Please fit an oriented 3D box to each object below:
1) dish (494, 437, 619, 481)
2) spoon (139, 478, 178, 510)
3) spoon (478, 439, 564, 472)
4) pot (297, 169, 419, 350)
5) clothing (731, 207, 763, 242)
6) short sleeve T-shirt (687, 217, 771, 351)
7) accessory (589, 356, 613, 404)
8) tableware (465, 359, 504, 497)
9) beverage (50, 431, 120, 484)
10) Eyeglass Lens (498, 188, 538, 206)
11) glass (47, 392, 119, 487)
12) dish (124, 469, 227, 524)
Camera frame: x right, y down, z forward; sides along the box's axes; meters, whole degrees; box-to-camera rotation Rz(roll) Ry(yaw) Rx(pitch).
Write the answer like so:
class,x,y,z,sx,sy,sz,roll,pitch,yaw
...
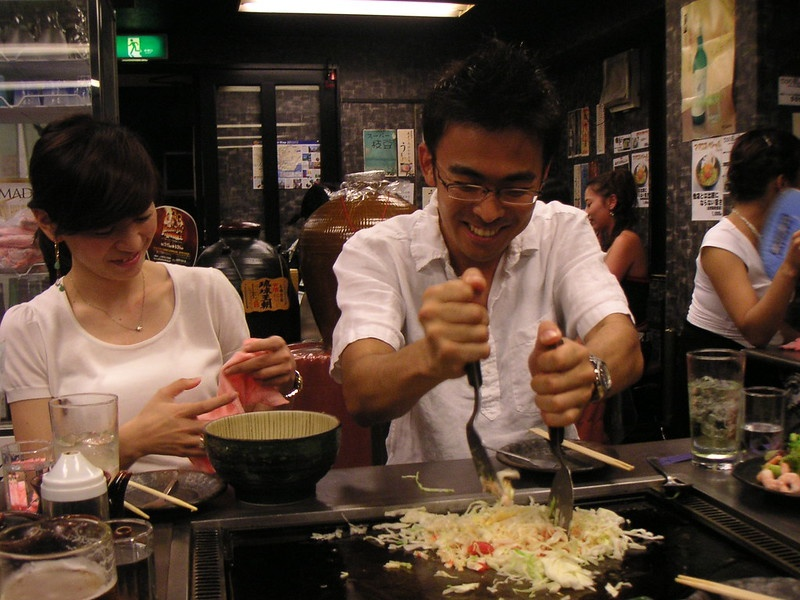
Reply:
class,x,y,z,sx,sy,sz,roll,pitch,yaw
dish,0.422,0.491,1.998,0.279,0.029,0.278,14,-28,-7
spoon,-0.686,0.561,1.837,0.057,0.060,0.037,4,9,-31
spoon,0.388,0.489,1.974,0.173,0.029,0.177,-11,12,-44
pot,-0.327,-0.264,4.103,0.886,1.326,0.975,0,3,-2
clothing,2.117,-0.449,3.851,0.173,0.045,0.139,50,18,28
short sleeve T-shirt,2.020,-0.069,3.830,0.369,0.639,0.646,16,29,24
accessory,0.599,0.246,1.883,0.063,0.149,0.176,4,14,17
tableware,0.276,0.419,2.076,0.066,0.436,0.065,-13,3,45
beverage,-0.804,0.392,1.663,0.144,0.153,0.156,0,-2,-7
Eyeglass Lens,0.394,-0.331,2.050,0.171,0.060,0.051,-13,19,-43
glass,-0.846,0.387,1.718,0.161,0.247,0.161,-3,-2,12
dish,-0.673,0.561,1.834,0.316,0.057,0.312,7,2,-4
